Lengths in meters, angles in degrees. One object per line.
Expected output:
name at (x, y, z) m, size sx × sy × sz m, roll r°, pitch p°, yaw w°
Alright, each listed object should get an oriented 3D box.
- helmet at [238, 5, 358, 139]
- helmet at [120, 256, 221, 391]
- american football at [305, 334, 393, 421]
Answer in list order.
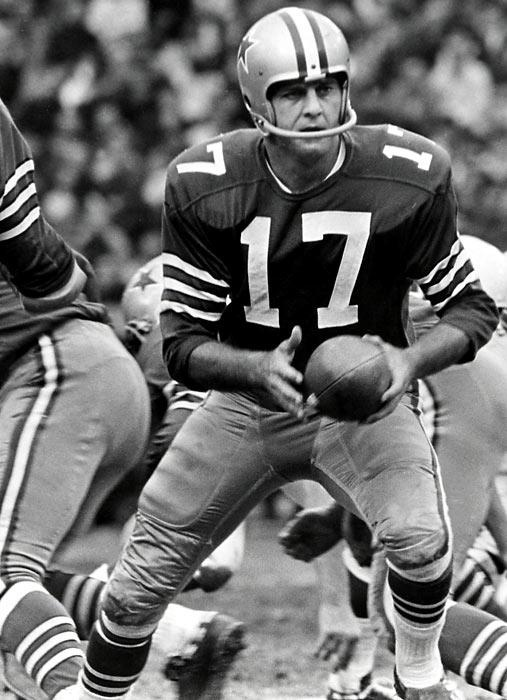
helmet at (0.083, -0.629, 2.407) m, size 0.250 × 0.256 × 0.315 m, roll -11°, pitch 26°, yaw -13°
helmet at (-0.272, -0.071, 3.548) m, size 0.230 × 0.267 × 0.435 m, roll 12°, pitch 51°, yaw -18°
american football at (0.201, 0.052, 2.290) m, size 0.158 × 0.149 × 0.190 m, roll -13°, pitch -6°, yaw 30°
